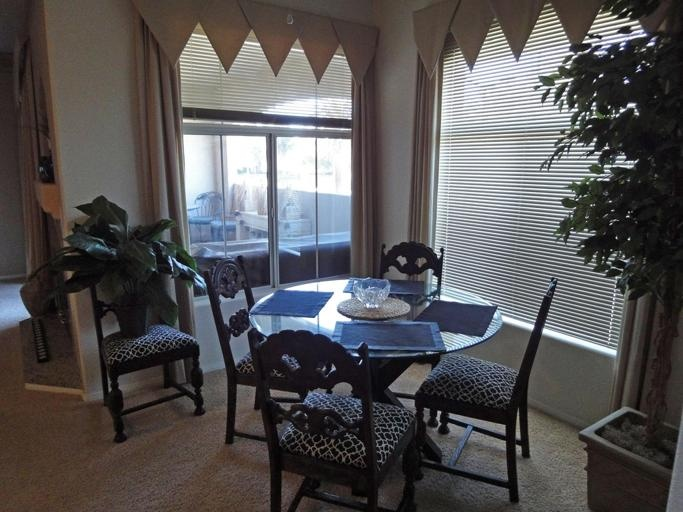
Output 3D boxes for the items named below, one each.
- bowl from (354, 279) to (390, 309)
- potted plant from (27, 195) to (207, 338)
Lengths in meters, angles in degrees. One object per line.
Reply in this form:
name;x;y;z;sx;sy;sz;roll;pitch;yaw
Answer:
bowl;0.194;0.201;3.212;0.174;0.138;0.183;1;15;0
potted plant;-1.912;0.035;3.882;1.728;1.030;0.923;8;13;33
